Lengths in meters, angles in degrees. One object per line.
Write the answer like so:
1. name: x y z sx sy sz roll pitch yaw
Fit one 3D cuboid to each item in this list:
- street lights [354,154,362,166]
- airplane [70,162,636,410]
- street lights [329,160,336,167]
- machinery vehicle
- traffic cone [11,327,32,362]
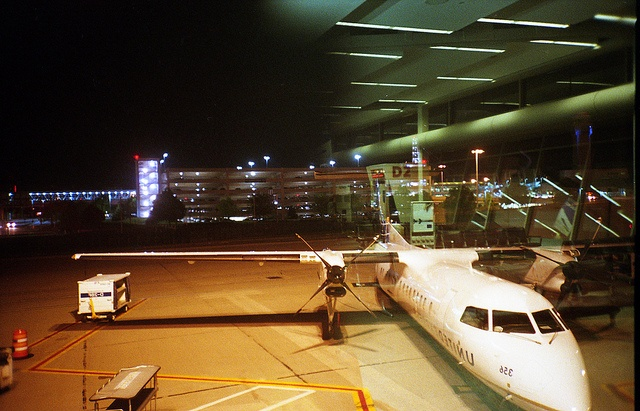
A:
1. street lights: 2.242 -2.741 28.766 0.431 0.430 0.405 -1 6 2
2. airplane: 4.253 2.745 30.135 24.539 10.110 26.214 -1 5 35
3. street lights: 0.736 -2.545 29.455 0.352 0.343 0.083 2 -9 -7
4. machinery vehicle: -12.127 5.497 28.425 2.498 2.146 4.060 -4 -10 3
5. traffic cone: -14.380 6.699 23.489 1.238 1.339 1.207 2 -4 -22
